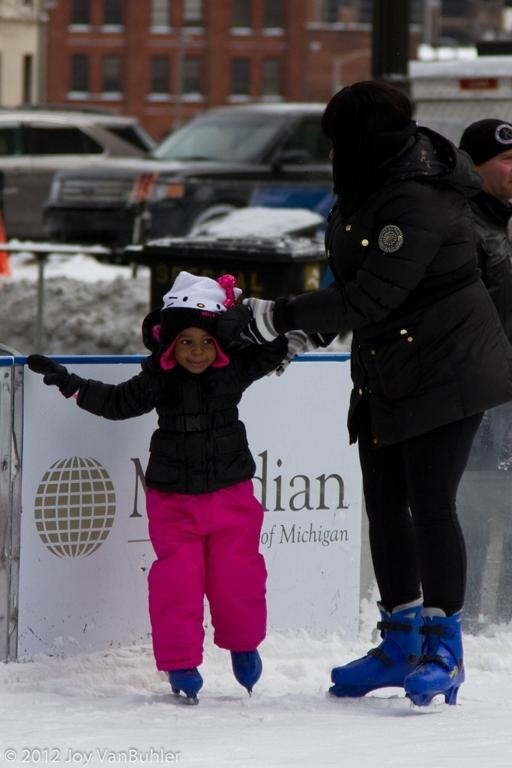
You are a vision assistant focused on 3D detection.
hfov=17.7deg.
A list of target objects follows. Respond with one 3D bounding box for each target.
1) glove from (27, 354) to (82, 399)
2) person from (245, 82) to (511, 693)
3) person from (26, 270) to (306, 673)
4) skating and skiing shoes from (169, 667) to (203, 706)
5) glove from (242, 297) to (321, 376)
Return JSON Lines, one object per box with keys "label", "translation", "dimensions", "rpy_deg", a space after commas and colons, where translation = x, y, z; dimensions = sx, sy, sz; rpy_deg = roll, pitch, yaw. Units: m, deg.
{"label": "glove", "translation": [-0.623, -0.025, 5.111], "dimensions": [0.165, 0.174, 0.232], "rpy_deg": [-1, 9, -9]}
{"label": "person", "translation": [0.414, 0.048, 4.834], "dimensions": [0.666, 1.859, 0.438], "rpy_deg": [1, 8, 9]}
{"label": "person", "translation": [-0.199, 0.244, 5.219], "dimensions": [0.535, 1.555, 0.572], "rpy_deg": [0, 0, -4]}
{"label": "skating and skiing shoes", "translation": [-0.211, 0.905, 4.979], "dimensions": [0.099, 0.117, 0.154], "rpy_deg": [0, 9, -4]}
{"label": "glove", "translation": [0.064, -0.143, 4.895], "dimensions": [0.194, 0.236, 0.181], "rpy_deg": [-16, 27, -37]}
